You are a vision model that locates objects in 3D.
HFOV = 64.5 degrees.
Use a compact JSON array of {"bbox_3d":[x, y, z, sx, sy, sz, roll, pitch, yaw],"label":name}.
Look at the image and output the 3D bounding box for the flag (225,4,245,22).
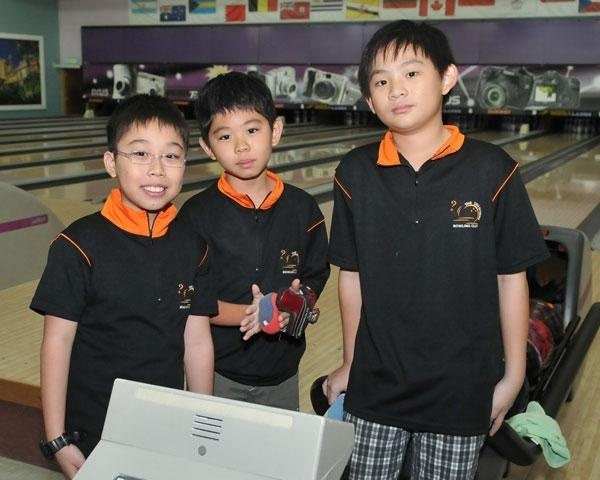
[{"bbox_3d":[-0.966,-3.453,7.183,0.264,0.202,0.011,3,9,17],"label":"flag"}]
